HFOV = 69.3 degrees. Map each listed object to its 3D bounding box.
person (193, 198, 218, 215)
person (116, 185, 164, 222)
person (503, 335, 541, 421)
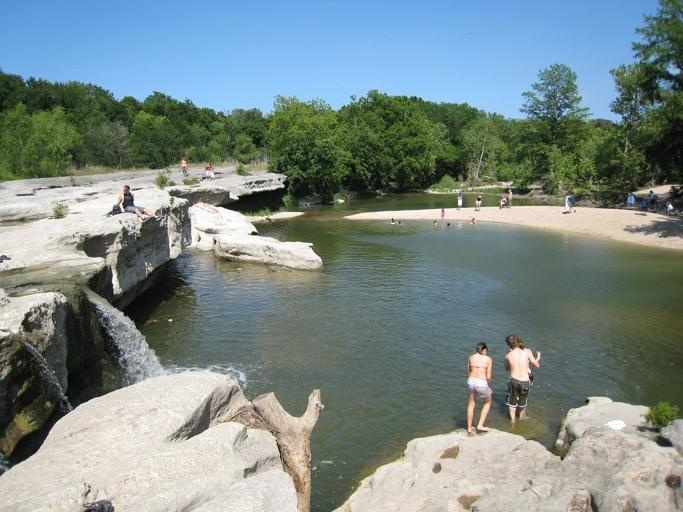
[{"bbox_3d":[-9.924,-3.671,36.734,1.108,0.335,1.147,25,6,17],"label":"person"},{"bbox_3d":[-8.187,-2.179,20.011,1.771,1.051,1.105,18,22,23],"label":"person"},{"bbox_3d":[5.101,3.510,13.942,1.031,2.554,0.792,2,12,13],"label":"person"}]
